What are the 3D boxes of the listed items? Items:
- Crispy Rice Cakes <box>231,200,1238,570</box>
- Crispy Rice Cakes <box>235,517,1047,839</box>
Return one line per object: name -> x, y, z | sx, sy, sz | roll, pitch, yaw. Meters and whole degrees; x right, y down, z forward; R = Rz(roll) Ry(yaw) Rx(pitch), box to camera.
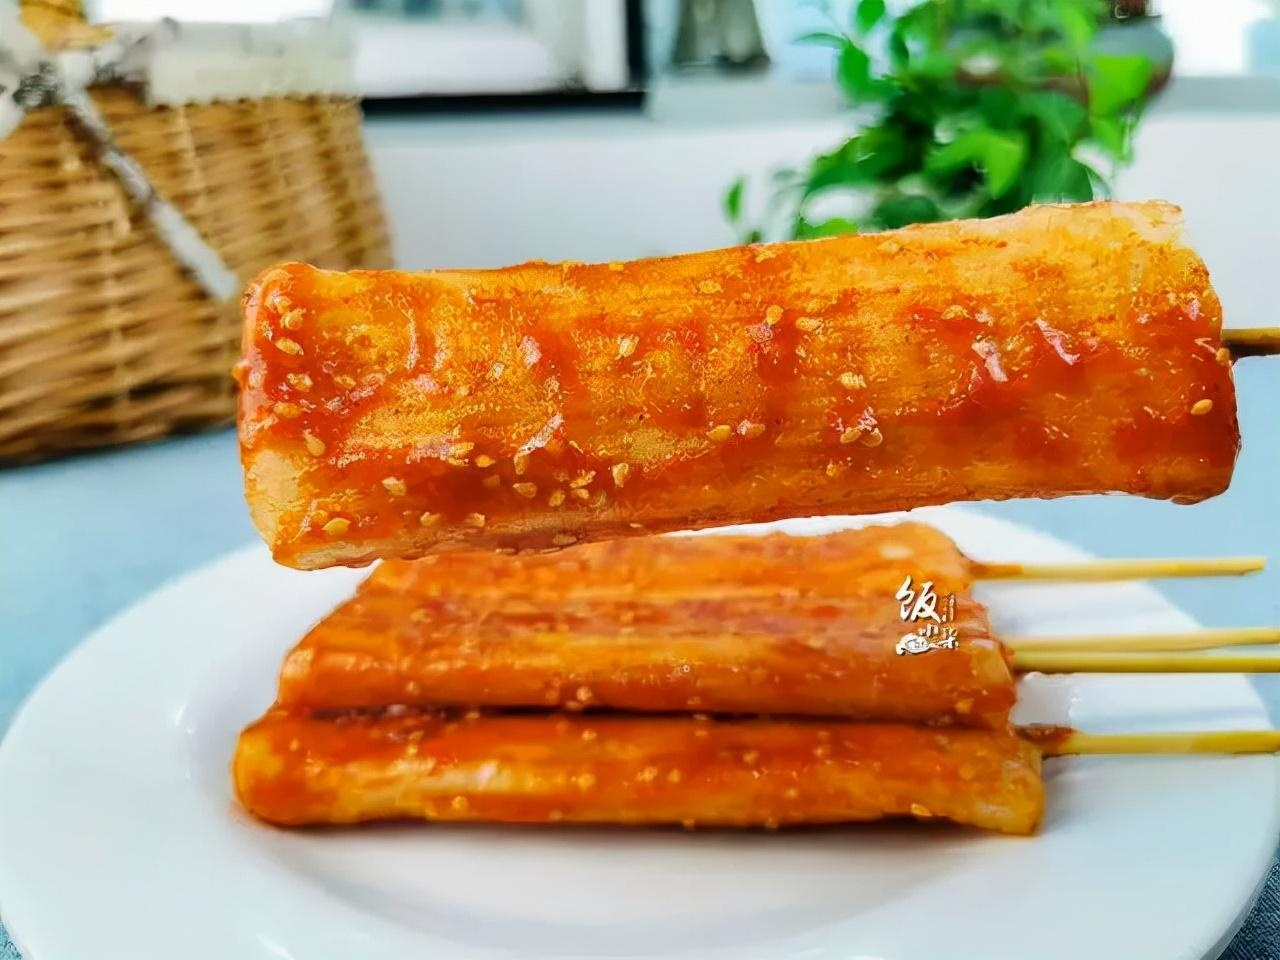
Crispy Rice Cakes -> 0.060, -0.053, 1.178 | 0.843, 0.220, 0.275 | -2, 35, 4
Crispy Rice Cakes -> 0.002, 0.183, 1.216 | 0.452, 0.100, 0.329 | 1, 11, 2
